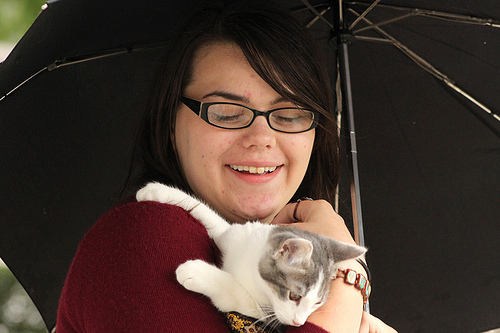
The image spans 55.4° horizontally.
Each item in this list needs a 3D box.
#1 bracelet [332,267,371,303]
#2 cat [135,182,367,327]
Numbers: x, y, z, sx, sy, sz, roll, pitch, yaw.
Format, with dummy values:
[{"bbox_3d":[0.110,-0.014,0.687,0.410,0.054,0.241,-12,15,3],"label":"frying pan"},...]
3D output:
[{"bbox_3d":[0.675,0.750,3.179,0.260,0.118,0.300,32,-16,-25],"label":"bracelet"},{"bbox_3d":[0.052,0.545,3.062,1.260,0.809,0.678,0,4,-22],"label":"cat"}]
